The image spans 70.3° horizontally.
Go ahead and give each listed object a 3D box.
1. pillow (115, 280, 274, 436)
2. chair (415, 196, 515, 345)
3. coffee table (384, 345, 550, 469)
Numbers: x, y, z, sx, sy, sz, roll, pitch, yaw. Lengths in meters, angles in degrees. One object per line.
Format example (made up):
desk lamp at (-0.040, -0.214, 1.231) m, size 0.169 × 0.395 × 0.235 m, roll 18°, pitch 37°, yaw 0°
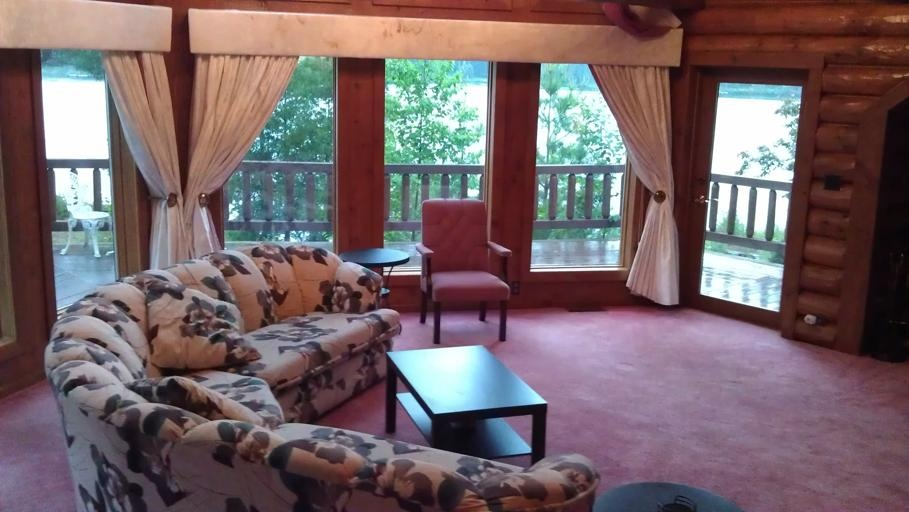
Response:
pillow at (-1.734, 0.659, 4.503) m, size 1.045 × 1.017 × 0.311 m, roll 18°, pitch -36°, yaw -35°
chair at (0.090, 0.093, 6.812) m, size 0.979 × 1.321 × 1.056 m, roll 2°, pitch 13°, yaw -1°
coffee table at (0.073, 1.057, 5.014) m, size 0.839 × 0.608 × 1.214 m, roll -2°, pitch 18°, yaw -18°
